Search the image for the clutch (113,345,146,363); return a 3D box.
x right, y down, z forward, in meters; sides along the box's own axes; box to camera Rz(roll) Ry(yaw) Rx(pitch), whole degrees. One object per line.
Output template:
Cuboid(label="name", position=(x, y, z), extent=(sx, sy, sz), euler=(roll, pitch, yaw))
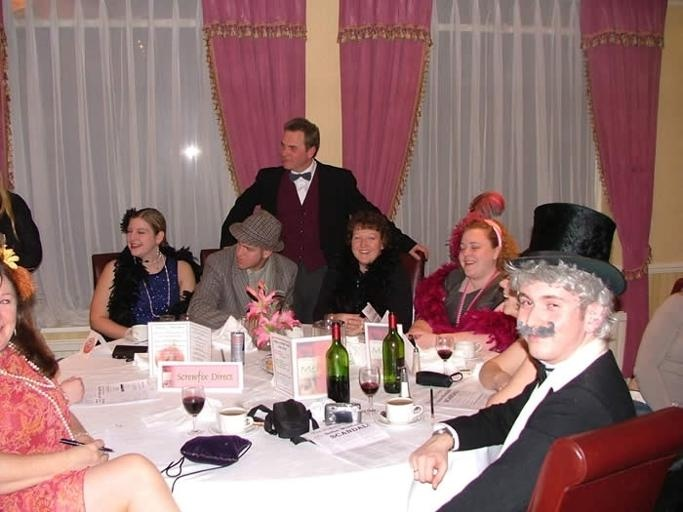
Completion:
Cuboid(label="clutch", position=(-1.069, 0.478, 2.919), extent=(0.092, 0.027, 0.098), euler=(3, 10, -3))

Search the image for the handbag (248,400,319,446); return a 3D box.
Cuboid(label="handbag", position=(-0.181, 0.570, 2.065), extent=(0.182, 0.077, 0.135), euler=(20, 16, 41))

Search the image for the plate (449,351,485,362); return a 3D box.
Cuboid(label="plate", position=(0.630, 0.491, 2.879), extent=(0.118, 0.061, 0.076), euler=(2, 0, -3))

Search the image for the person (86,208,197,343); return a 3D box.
Cuboid(label="person", position=(-1.278, 0.291, 3.845), extent=(0.667, 1.156, 0.494), euler=(0, 8, -30))

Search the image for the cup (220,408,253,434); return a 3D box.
Cuboid(label="cup", position=(-0.378, 0.589, 2.069), extent=(0.090, 0.070, 0.076), euler=(3, 1, 5))

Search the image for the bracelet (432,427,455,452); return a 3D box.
Cuboid(label="bracelet", position=(0.332, 0.600, 1.921), extent=(0.049, 0.046, 0.123), euler=(-8, -8, -3))

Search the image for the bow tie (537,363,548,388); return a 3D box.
Cuboid(label="bow tie", position=(0.629, 0.375, 1.851), extent=(0.023, 0.065, 0.042), euler=(4, -10, -7))

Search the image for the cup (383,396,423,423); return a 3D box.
Cuboid(label="cup", position=(0.237, 0.569, 2.180), extent=(0.100, 0.074, 0.082), euler=(0, 3, 5))

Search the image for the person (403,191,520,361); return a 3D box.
Cuboid(label="person", position=(0.759, 0.234, 3.478), extent=(0.732, 1.192, 0.557), euler=(-2, -7, 43))

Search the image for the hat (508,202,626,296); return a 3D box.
Cuboid(label="hat", position=(0.810, -0.063, 2.417), extent=(0.506, 0.314, 0.521), euler=(7, 1, 29))

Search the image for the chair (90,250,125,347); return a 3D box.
Cuboid(label="chair", position=(-1.486, 0.294, 3.695), extent=(0.311, 0.507, 0.160), euler=(4, -4, -6))

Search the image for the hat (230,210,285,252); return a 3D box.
Cuboid(label="hat", position=(-0.514, -0.132, 3.622), extent=(0.254, 0.152, 0.262), euler=(-1, 37, -32))

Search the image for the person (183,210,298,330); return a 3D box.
Cuboid(label="person", position=(-0.617, 0.094, 3.698), extent=(0.473, 0.892, 0.478), euler=(11, 15, -20))

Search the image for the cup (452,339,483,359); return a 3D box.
Cuboid(label="cup", position=(0.637, 0.460, 2.902), extent=(0.122, 0.099, 0.085), euler=(1, 0, -9))
